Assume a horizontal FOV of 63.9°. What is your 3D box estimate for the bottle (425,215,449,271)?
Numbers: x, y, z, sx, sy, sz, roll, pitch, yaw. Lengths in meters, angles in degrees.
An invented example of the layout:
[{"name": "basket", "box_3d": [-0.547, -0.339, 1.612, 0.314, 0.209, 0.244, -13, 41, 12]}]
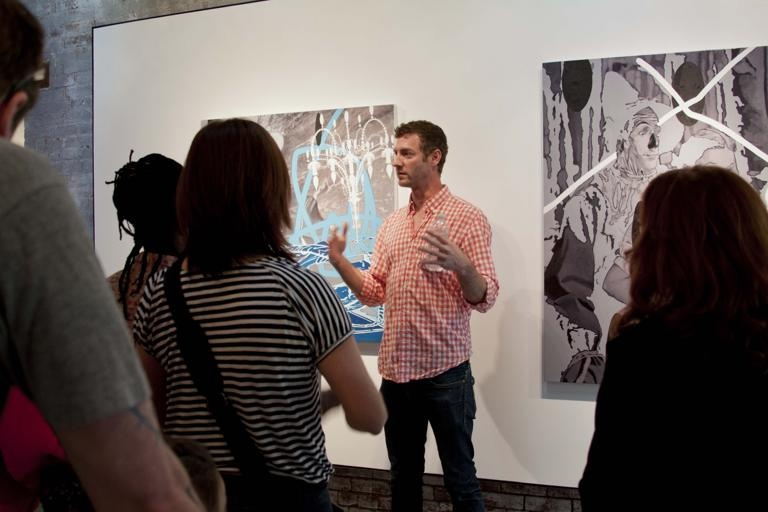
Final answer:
[{"name": "bottle", "box_3d": [0.258, -0.074, 3.032, 0.112, 0.259, 0.330, -2, -1, 6]}]
